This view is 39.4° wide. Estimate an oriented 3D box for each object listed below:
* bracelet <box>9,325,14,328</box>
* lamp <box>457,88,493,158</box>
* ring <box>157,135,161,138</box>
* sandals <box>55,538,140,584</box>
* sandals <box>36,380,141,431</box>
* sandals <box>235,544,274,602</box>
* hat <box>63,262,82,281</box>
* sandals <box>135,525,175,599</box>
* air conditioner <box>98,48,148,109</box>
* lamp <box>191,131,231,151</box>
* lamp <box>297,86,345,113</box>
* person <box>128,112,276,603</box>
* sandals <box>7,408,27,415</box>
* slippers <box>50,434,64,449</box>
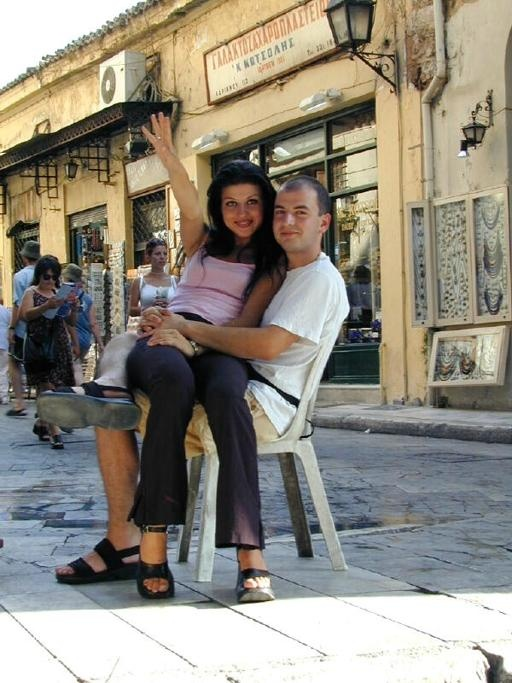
[{"bbox_3d":[-3.115,-0.184,9.117,0.051,0.032,0.047,2,1,6],"label":"bracelet"},{"bbox_3d":[2.894,-2.935,9.525,0.437,0.852,0.407,3,7,41],"label":"lamp"},{"bbox_3d":[-0.371,-0.793,2.755,0.017,0.005,0.021,-4,11,-37],"label":"ring"},{"bbox_3d":[-0.499,0.743,2.410,0.309,0.129,0.120,6,-11,-25],"label":"sandals"},{"bbox_3d":[-0.507,0.169,2.253,0.306,0.183,0.104,6,-40,-2],"label":"sandals"},{"bbox_3d":[-0.002,0.671,2.053,0.102,0.120,0.153,-2,4,-1],"label":"sandals"},{"bbox_3d":[-2.619,-0.953,10.102,0.251,0.141,0.258,17,36,-35],"label":"hat"},{"bbox_3d":[-0.298,0.654,2.108,0.104,0.193,0.113,-2,5,-9],"label":"sandals"},{"bbox_3d":[-3.062,-5.898,16.289,0.536,1.109,1.384,-8,11,-35],"label":"air conditioner"},{"bbox_3d":[-0.912,-4.016,14.265,0.388,0.214,0.538,-8,13,42],"label":"lamp"},{"bbox_3d":[1.075,-4.031,11.847,0.500,0.173,0.351,-16,-13,34],"label":"lamp"},{"bbox_3d":[-0.169,-0.025,2.389,0.539,1.670,0.937,-1,5,3],"label":"person"},{"bbox_3d":[-3.521,1.034,10.385,0.357,0.123,0.121,1,4,11],"label":"sandals"},{"bbox_3d":[-2.038,1.022,7.301,0.140,0.132,0.357,0,-5,-15],"label":"slippers"}]
